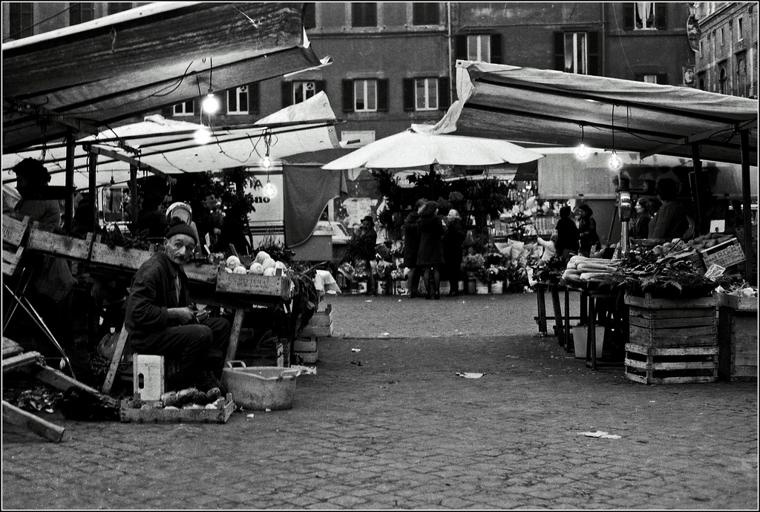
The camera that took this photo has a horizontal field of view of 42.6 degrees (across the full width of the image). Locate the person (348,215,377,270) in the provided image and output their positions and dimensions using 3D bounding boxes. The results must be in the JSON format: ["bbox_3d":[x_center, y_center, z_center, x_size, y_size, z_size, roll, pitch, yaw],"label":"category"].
[{"bbox_3d":[-0.379,-0.484,25.906,0.695,1.203,1.172,3,21,-4],"label":"person"}]

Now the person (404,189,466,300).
[{"bbox_3d":[1.055,-0.164,23.117,0.970,2.370,1.497,-1,4,1],"label":"person"}]

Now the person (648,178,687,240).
[{"bbox_3d":[4.612,-0.768,15.686,0.581,0.969,1.301,0,4,16],"label":"person"}]

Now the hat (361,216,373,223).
[{"bbox_3d":[-0.340,-0.964,25.676,0.205,0.237,0.263,-2,1,0],"label":"hat"}]

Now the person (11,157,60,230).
[{"bbox_3d":[-4.936,-0.904,14.062,0.597,1.025,1.012,-3,4,-21],"label":"person"}]

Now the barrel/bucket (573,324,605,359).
[{"bbox_3d":[3.119,1.261,14.632,0.473,0.497,0.481,2,1,0],"label":"barrel/bucket"}]
